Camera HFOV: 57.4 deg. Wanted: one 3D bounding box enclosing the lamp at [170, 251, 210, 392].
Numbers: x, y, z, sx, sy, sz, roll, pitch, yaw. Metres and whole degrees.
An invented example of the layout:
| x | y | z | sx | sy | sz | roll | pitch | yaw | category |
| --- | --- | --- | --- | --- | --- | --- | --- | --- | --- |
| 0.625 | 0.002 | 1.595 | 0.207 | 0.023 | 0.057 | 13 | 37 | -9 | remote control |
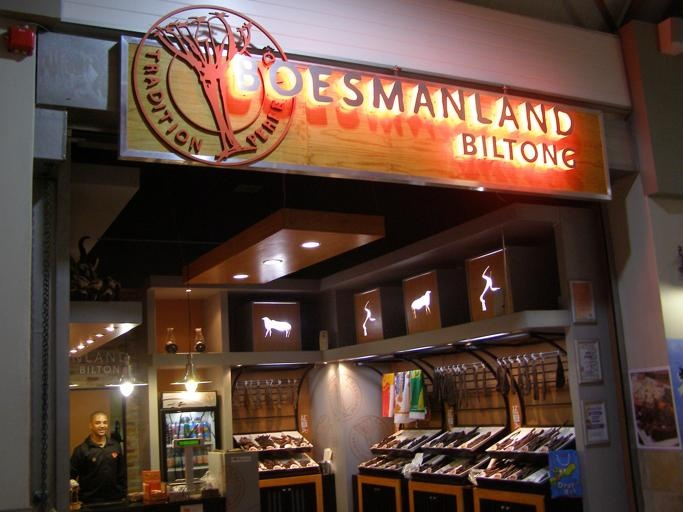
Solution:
| x | y | z | sx | sy | sz | roll | pitch | yaw | category |
| --- | --- | --- | --- | --- | --- | --- | --- | --- | --- |
| -2.269 | 1.148 | 9.283 | 0.512 | 0.405 | 1.681 | 7 | -44 | -6 | lamp |

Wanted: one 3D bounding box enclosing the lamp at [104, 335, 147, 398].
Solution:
| x | y | z | sx | sy | sz | roll | pitch | yaw | category |
| --- | --- | --- | --- | --- | --- | --- | --- | --- | --- |
| -3.112 | 1.527 | 8.937 | 0.268 | 0.611 | 0.250 | 12 | 3 | 12 | lamp |

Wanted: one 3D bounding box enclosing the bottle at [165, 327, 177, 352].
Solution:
| x | y | z | sx | sy | sz | roll | pitch | yaw | category |
| --- | --- | --- | --- | --- | --- | --- | --- | --- | --- |
| -2.539 | 1.259 | 9.290 | 0.135 | 0.393 | 0.239 | 0 | -14 | -16 | bottle |

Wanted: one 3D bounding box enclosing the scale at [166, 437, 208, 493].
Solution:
| x | y | z | sx | sy | sz | roll | pitch | yaw | category |
| --- | --- | --- | --- | --- | --- | --- | --- | --- | --- |
| -1.875 | 2.558 | 7.702 | 0.353 | 0.668 | 0.098 | -1 | 2 | -7 | scale |

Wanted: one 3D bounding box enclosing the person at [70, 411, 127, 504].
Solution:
| x | y | z | sx | sy | sz | roll | pitch | yaw | category |
| --- | --- | --- | --- | --- | --- | --- | --- | --- | --- |
| -3.320 | 2.748 | 8.596 | 0.676 | 1.152 | 0.485 | 2 | -14 | -20 | person |

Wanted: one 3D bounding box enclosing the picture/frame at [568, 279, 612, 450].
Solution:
| x | y | z | sx | sy | sz | roll | pitch | yaw | category |
| --- | --- | --- | --- | --- | --- | --- | --- | --- | --- |
| 2.648 | 1.140 | 6.708 | 0.419 | 1.736 | 0.166 | 2 | -14 | -24 | picture/frame |
